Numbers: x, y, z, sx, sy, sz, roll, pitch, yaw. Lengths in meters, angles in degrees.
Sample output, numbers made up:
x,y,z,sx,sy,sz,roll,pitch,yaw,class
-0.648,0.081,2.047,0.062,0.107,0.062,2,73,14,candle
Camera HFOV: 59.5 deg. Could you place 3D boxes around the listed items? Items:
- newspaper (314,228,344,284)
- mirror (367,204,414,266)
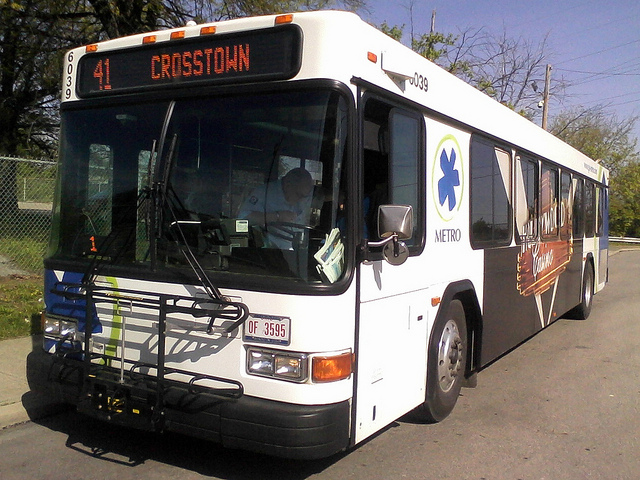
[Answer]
x,y,z,sx,sy,sz,roll,pitch,yaw,class
0.087,0.119,4.723,0.253,0.436,0.084,-2,7,-29,newspaper
0.525,-0.006,4.766,0.476,0.535,0.283,-9,12,-36,mirror
